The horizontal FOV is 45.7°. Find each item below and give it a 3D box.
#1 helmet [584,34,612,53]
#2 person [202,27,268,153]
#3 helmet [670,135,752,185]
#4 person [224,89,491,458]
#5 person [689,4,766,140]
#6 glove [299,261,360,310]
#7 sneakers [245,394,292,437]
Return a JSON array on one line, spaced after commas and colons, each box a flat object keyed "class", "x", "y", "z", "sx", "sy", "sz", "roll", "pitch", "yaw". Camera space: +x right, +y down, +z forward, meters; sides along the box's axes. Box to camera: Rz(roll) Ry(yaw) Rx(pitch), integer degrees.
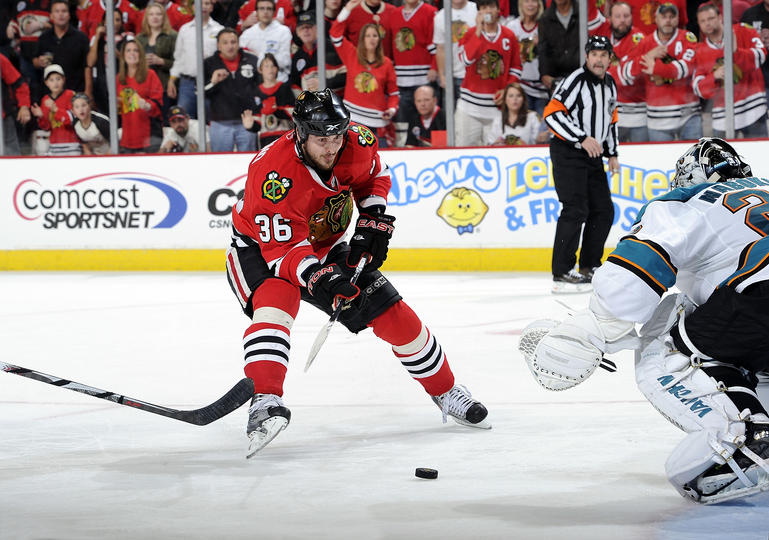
[{"class": "helmet", "x": 1.545, "y": -1.617, "z": 6.687, "sx": 0.160, "sy": 0.102, "sz": 0.219, "roll": 0, "pitch": 6, "yaw": 2}, {"class": "person", "x": -1.419, "y": -1.404, "z": 8.574, "sx": 0.502, "sy": 1.497, "sz": 0.491, "roll": -4, "pitch": 22, "yaw": -10}, {"class": "helmet", "x": 1.113, "y": -0.342, "z": 3.136, "sx": 0.208, "sy": 0.153, "sz": 0.182, "roll": 27, "pitch": -26, "yaw": -10}, {"class": "person", "x": -0.158, "y": -0.031, "z": 3.640, "sx": 0.902, "sy": 1.310, "sz": 0.681, "roll": -3, "pitch": 9, "yaw": -14}, {"class": "person", "x": 2.877, "y": -1.616, "z": 7.609, "sx": 0.599, "sy": 1.092, "sz": 0.141, "roll": 2, "pitch": 9, "yaw": 21}, {"class": "glove", "x": -0.206, "y": 0.062, "z": 3.565, "sx": 0.199, "sy": 0.188, "sz": 0.318, "roll": -1, "pitch": 8, "yaw": -2}, {"class": "sneakers", "x": -0.434, "y": 0.523, "z": 3.373, "sx": 0.155, "sy": 0.128, "sz": 0.146, "roll": -2, "pitch": 9, "yaw": -9}]
